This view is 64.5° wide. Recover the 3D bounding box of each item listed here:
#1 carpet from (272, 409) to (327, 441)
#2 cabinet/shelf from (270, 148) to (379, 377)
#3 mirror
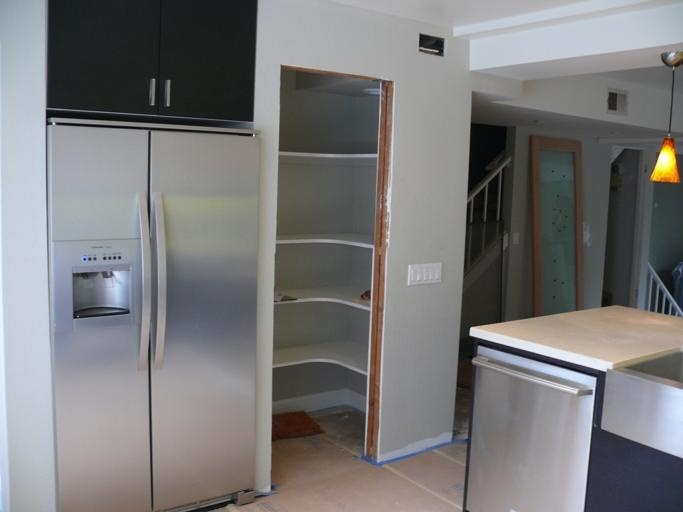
[{"bbox_3d":[-0.369,1.349,4.340,0.412,0.054,0.403,3,8,-15],"label":"carpet"},{"bbox_3d":[-0.114,0.083,4.296,0.838,1.749,0.659,2,8,-18],"label":"cabinet/shelf"},{"bbox_3d":[2.504,-0.351,6.244,0.895,2.009,0.355,0,9,-31],"label":"mirror"}]
